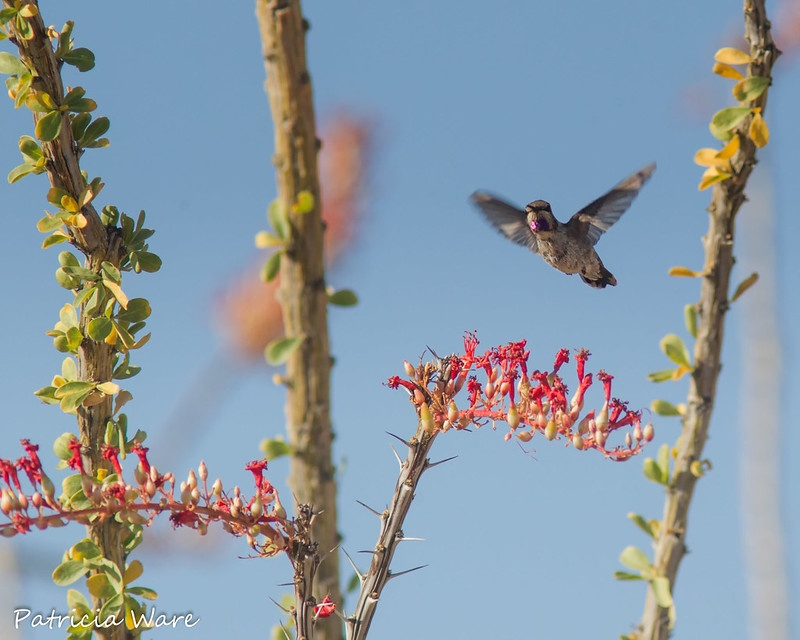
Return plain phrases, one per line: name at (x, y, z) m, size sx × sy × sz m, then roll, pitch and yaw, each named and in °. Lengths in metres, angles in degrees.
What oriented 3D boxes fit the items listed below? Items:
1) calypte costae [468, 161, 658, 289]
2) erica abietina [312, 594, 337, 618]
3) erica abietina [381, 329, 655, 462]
calypte costae at (0.700, -0.422, 10.364) m, size 0.993 × 0.533 × 0.712 m, roll -10°, pitch -12°, yaw 38°
erica abietina at (-0.288, 1.115, 8.560) m, size 0.085 × 0.073 × 0.041 m, roll -38°, pitch -53°, yaw 20°
erica abietina at (0.452, 0.287, 8.569) m, size 1.003 × 0.387 × 0.221 m, roll 4°, pitch -33°, yaw -5°
